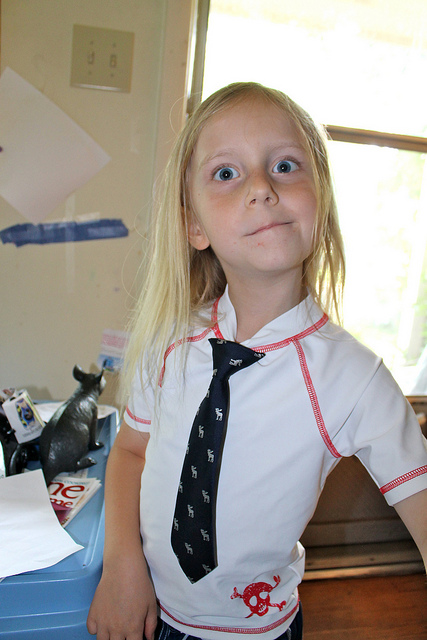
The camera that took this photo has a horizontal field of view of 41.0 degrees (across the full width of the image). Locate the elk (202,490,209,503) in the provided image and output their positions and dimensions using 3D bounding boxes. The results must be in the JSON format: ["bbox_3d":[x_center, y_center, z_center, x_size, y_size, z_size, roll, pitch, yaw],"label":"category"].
[{"bbox_3d":[-0.011,0.229,0.744,0.008,0.013,0.012,-10,42,8],"label":"elk"}]

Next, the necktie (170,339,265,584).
[{"bbox_3d":[0.002,0.190,0.769,0.070,0.321,0.085,11,13,40],"label":"necktie"}]

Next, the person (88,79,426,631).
[{"bbox_3d":[0.046,0.053,0.841,0.446,0.790,0.407,2,9,-2],"label":"person"}]

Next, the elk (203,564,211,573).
[{"bbox_3d":[-0.008,0.325,0.750,0.015,0.006,0.001,35,9,-3],"label":"elk"}]

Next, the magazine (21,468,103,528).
[{"bbox_3d":[-0.230,0.284,0.921,0.082,0.018,0.082,6,23,30],"label":"magazine"}]
